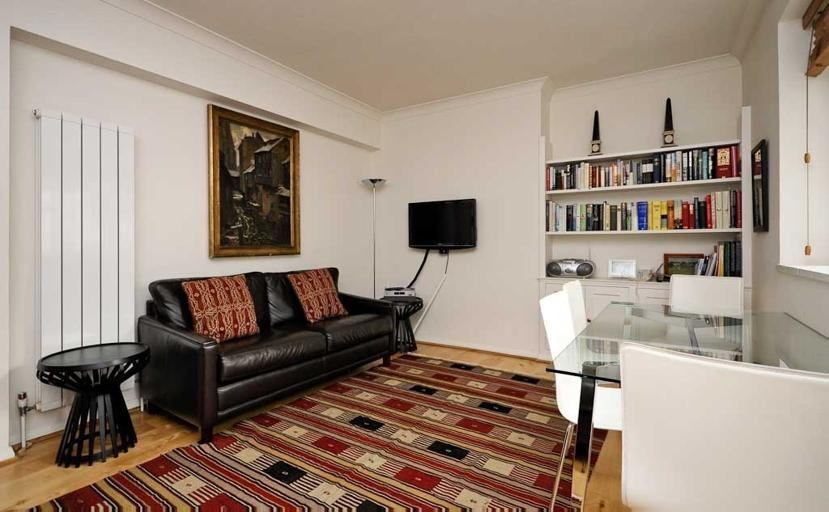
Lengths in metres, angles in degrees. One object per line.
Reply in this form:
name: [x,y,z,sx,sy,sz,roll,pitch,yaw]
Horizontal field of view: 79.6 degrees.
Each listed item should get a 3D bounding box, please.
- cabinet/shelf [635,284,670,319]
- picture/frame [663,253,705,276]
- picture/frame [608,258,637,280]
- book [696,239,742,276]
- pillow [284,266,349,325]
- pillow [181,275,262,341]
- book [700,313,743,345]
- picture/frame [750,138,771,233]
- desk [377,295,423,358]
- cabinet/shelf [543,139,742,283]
cabinet/shelf: [2.343,0.413,4.889,0.297,0.376,0.417,6,-7,-43]
picture/frame: [2.765,0.088,5.104,0.246,0.199,0.020,1,-4,32]
picture/frame: [2.231,0.148,5.353,0.245,0.199,0.021,0,-8,35]
book: [2.972,0.040,4.996,0.343,0.450,0.479,4,2,13]
pillow: [-1.024,0.398,5.240,0.576,0.524,0.168,-6,-17,-43]
pillow: [-1.744,0.474,4.520,0.182,0.552,0.632,-32,-17,36]
book: [2.069,0.498,3.378,0.216,0.128,0.224,-3,-2,42]
picture/frame: [3.085,-0.625,4.475,0.073,0.822,0.480,1,7,26]
desk: [-0.346,0.804,5.835,0.639,0.714,0.614,0,-5,-12]
cabinet/shelf: [2.373,-0.684,5.244,1.889,0.871,0.357,1,7,26]
